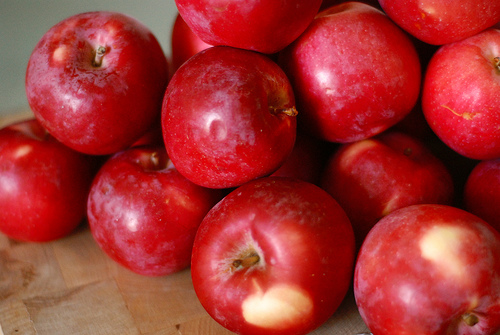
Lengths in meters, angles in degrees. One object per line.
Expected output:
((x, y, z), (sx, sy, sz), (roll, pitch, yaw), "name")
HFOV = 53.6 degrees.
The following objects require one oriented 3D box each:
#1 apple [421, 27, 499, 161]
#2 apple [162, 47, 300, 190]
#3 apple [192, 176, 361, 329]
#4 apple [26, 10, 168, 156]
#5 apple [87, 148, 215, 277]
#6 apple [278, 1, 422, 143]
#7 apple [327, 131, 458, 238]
((0.370, -0.137, 0.863), (0.139, 0.137, 0.137), (50, 60, -14), "apple")
((-0.071, -0.089, 0.934), (0.209, 0.252, 0.228), (13, 13, 24), "apple")
((0.041, 0.157, 0.863), (0.279, 0.160, 0.258), (14, 59, 15), "apple")
((-0.316, -0.143, 1.026), (0.244, 0.263, 0.286), (6, 65, -24), "apple")
((-0.191, 0.094, 1.040), (0.228, 0.237, 0.210), (41, 31, 29), "apple")
((0.180, -0.167, 0.990), (0.216, 0.230, 0.234), (40, 74, 15), "apple")
((0.267, 0.040, 1.019), (0.200, 0.208, 0.221), (31, 99, 6), "apple")
